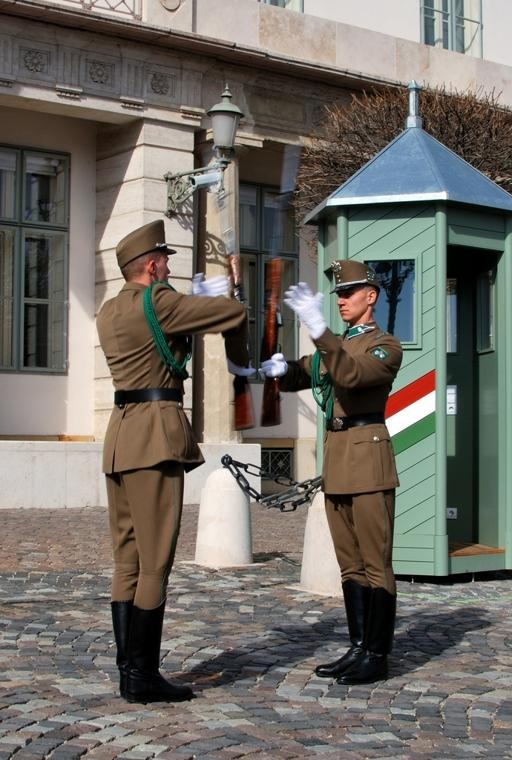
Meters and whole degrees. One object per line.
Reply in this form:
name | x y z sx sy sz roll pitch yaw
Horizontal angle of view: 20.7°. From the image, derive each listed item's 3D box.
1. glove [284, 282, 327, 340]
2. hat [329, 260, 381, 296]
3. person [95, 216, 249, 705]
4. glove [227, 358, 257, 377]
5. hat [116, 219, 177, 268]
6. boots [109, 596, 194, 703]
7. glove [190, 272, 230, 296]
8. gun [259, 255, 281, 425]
glove | 0.216 -0.306 6.208 0.182 0.273 0.307 0 -2 1
hat | 0.451 -0.487 6.523 0.191 0.093 0.143 -3 -5 -40
person | -0.365 0.456 5.953 0.659 1.763 0.341 -1 -2 3
glove | -0.056 -0.060 6.070 0.101 0.051 0.074 3 1 -39
hat | -0.475 -0.573 6.110 0.266 0.155 0.179 -19 19 -8
boots | -0.431 1.131 5.859 0.335 0.410 0.176 0 -2 -6
glove | -0.194 -0.408 6.063 0.126 0.044 0.118 2 40 -4
gun | 0.068 -0.177 6.424 0.132 0.697 0.107 2 7 -10
